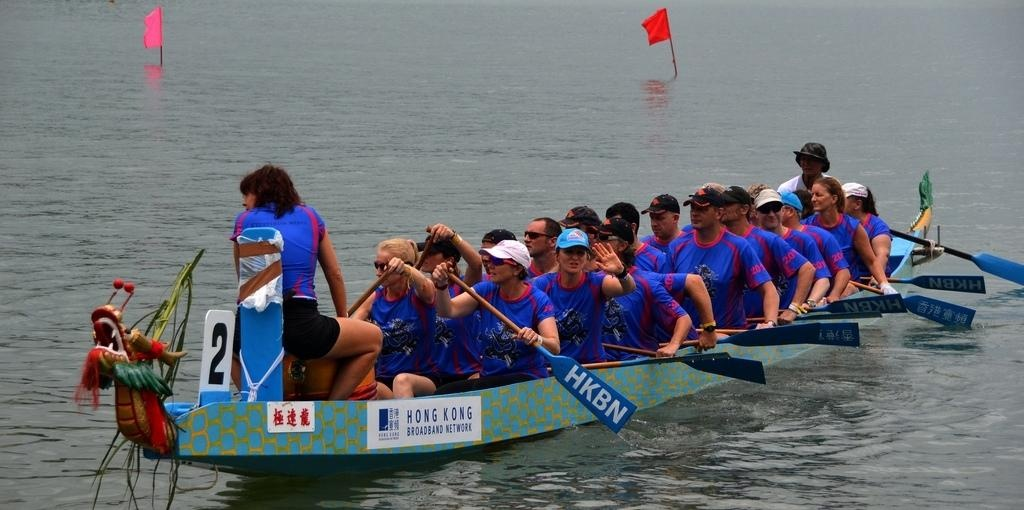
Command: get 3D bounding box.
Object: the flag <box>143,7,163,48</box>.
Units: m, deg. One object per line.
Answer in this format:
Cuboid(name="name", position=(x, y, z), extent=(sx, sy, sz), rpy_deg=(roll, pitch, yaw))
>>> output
Cuboid(name="flag", position=(-19.838, -12.637, 85.366), extent=(0.932, 2.124, 2.132), rpy_deg=(-3, 7, -15))
